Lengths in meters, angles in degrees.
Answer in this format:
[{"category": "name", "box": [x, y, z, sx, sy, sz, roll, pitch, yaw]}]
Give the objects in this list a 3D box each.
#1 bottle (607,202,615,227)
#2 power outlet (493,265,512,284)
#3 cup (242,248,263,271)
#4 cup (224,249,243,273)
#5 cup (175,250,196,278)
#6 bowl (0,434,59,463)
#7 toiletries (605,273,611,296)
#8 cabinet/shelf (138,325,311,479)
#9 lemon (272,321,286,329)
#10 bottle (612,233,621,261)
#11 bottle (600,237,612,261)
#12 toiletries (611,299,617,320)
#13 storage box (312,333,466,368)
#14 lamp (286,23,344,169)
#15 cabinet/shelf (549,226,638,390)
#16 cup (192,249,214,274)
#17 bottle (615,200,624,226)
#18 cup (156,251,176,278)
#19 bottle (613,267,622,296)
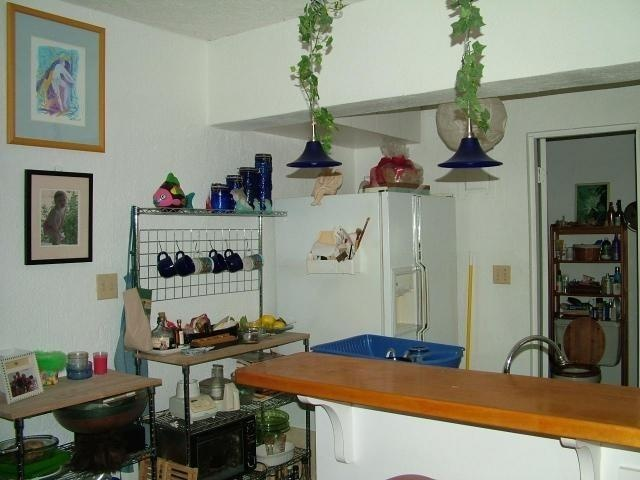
[{"category": "bottle", "box": [2.928, -0.273, 5.441, 0.063, 0.245, 0.248, 0, 1, 27]}, {"category": "power outlet", "box": [1.543, 0.288, 4.553, 0.160, 0.161, 0.017, 3, 3, 39]}, {"category": "cup", "box": [-0.466, 0.162, 3.807, 0.099, 0.110, 0.170, 0, 1, 30]}, {"category": "cup", "box": [-0.583, 0.145, 3.714, 0.131, 0.168, 0.197, -1, 1, -8]}, {"category": "cup", "box": [-0.835, 0.154, 3.354, 0.108, 0.108, 0.169, -1, 3, -14]}, {"category": "bowl", "box": [-1.369, 0.971, 2.542, 0.198, 0.090, 0.241, 0, 1, 25]}, {"category": "toiletries", "box": [2.862, 0.439, 5.363, 0.059, 0.173, 0.219, 0, 1, 28]}, {"category": "cabinet/shelf", "box": [-0.593, 0.959, 3.176, 0.383, 1.022, 1.152, -1, -1, 30]}, {"category": "lemon", "box": [-0.269, 0.590, 3.742, 0.062, 0.052, 0.052, 10, -14, -11]}, {"category": "bottle", "box": [2.912, 0.071, 5.311, 0.061, 0.254, 0.102, 0, 2, 17]}, {"category": "bottle", "box": [2.838, 0.096, 5.350, 0.100, 0.206, 0.172, 0, 2, 29]}, {"category": "toiletries", "box": [2.874, 0.676, 5.295, 0.031, 0.197, 0.061, -2, 2, -32]}, {"category": "storage box", "box": [0.484, 0.638, 3.177, 0.554, 0.110, 0.391, -1, -1, 33]}, {"category": "lamp", "box": [-0.032, -0.806, 3.085, 0.275, 0.809, 0.514, -1, 1, 0]}, {"category": "cabinet/shelf", "box": [2.698, 0.602, 5.346, 0.798, 1.589, 0.652, 0, 2, 22]}, {"category": "cup", "box": [-0.770, 0.147, 3.516, 0.114, 0.130, 0.145, -3, -2, 34]}, {"category": "bottle", "box": [2.995, -0.281, 5.402, 0.065, 0.250, 0.262, 0, 1, 27]}, {"category": "cup", "box": [-0.961, 0.154, 3.400, 0.110, 0.170, 0.146, -1, 1, -26]}, {"category": "bottle", "box": [2.902, 0.426, 5.275, 0.076, 0.220, 0.094, 0, 2, 30]}]
